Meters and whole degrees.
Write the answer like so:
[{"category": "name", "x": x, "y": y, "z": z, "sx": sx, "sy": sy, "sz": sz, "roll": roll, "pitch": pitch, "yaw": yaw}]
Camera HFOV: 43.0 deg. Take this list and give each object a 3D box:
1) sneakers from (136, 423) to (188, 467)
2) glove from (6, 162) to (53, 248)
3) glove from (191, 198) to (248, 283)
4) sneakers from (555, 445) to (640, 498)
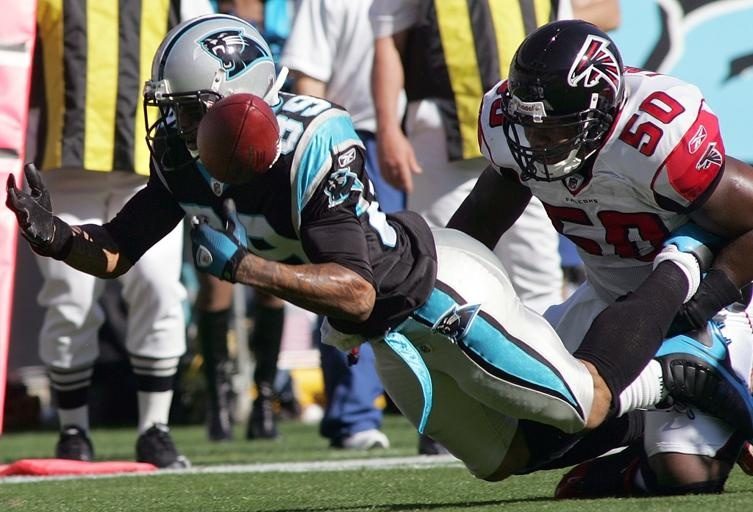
[{"category": "sneakers", "x": -0.866, "y": 0.758, "z": 3.838, "sx": 0.104, "sy": 0.130, "sz": 0.285, "roll": -1, "pitch": 1, "yaw": -40}, {"category": "glove", "x": -1.005, "y": -0.137, "z": 2.772, "sx": 0.068, "sy": 0.239, "sz": 0.140, "roll": -32, "pitch": 16, "yaw": -21}, {"category": "glove", "x": -0.431, "y": -0.043, "z": 2.589, "sx": 0.146, "sy": 0.222, "sz": 0.126, "roll": 2, "pitch": 16, "yaw": -15}, {"category": "sneakers", "x": 0.734, "y": 0.719, "z": 3.112, "sx": 0.203, "sy": 0.074, "sz": 0.150, "roll": -19, "pitch": 20, "yaw": 0}]
